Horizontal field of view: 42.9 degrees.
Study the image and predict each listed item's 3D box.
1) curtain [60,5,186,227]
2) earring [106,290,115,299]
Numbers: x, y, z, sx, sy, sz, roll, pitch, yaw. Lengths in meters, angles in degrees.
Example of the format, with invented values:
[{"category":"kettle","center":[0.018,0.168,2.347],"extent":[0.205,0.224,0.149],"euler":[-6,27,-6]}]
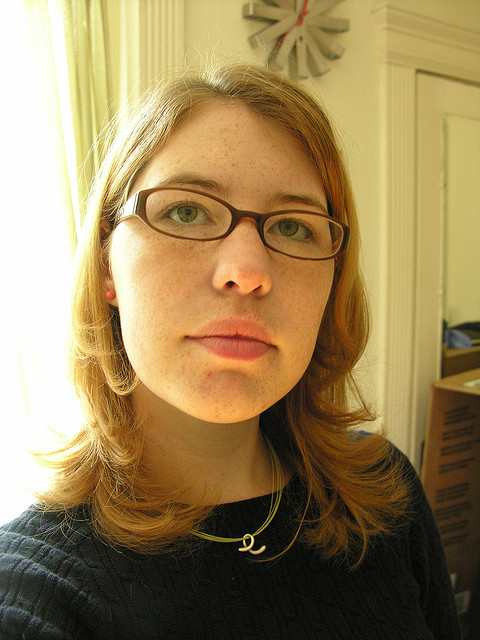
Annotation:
[{"category":"curtain","center":[-0.346,-0.711,1.984],"extent":[0.205,0.618,0.503],"euler":[12,21,33]},{"category":"earring","center":[-0.206,-0.041,0.978],"extent":[0.014,0.010,0.012],"euler":[-7,2,-1]}]
